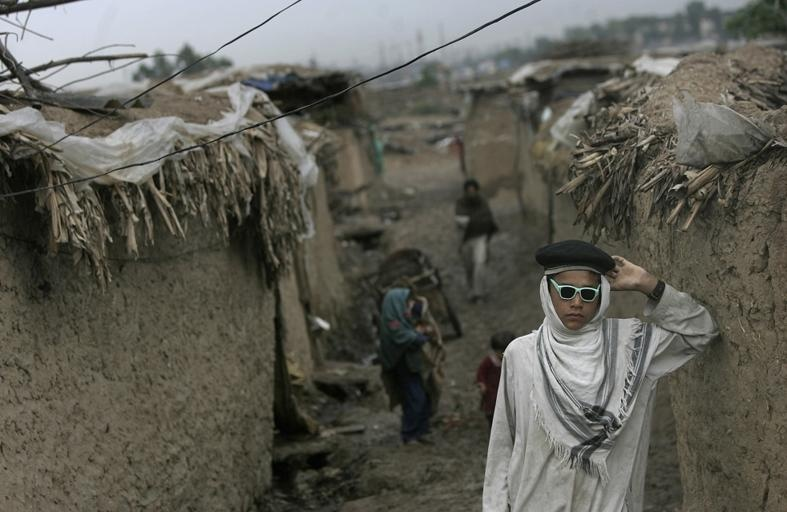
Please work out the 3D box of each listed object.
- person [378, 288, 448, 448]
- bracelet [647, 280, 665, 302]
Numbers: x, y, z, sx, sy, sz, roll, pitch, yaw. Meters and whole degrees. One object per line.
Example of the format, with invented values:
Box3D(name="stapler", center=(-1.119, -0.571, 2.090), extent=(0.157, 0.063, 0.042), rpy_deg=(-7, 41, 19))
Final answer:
Box3D(name="person", center=(0.116, 0.807, 11.613), extent=(0.411, 1.169, 0.377), rpy_deg=(-6, 52, 5))
Box3D(name="bracelet", center=(1.561, 0.212, 9.856), extent=(0.060, 0.095, 0.124), rpy_deg=(37, 36, 4))
